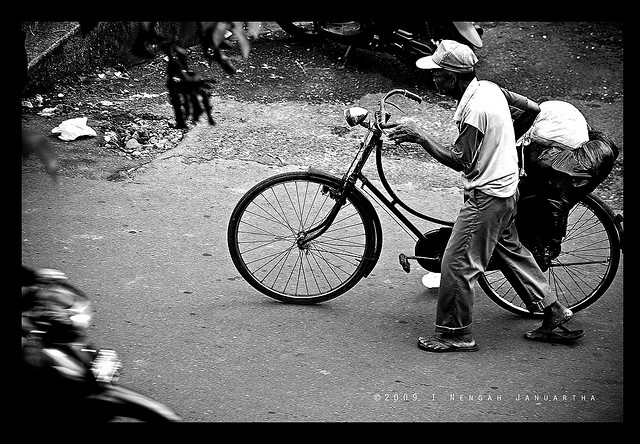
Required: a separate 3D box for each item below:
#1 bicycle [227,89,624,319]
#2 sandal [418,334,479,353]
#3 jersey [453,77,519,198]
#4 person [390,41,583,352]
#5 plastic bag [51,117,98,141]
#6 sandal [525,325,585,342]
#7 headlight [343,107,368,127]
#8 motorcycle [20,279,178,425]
[{"bbox_3d":[0.821,-0.029,5.538,2.991,1.089,0.929,5,-7,-8],"label":"bicycle"},{"bbox_3d":[0.854,0.815,5.063,0.397,0.085,0.129,4,5,-1],"label":"sandal"},{"bbox_3d":[1.021,-0.504,4.943,0.555,0.684,0.654,7,27,14],"label":"jersey"},{"bbox_3d":[1.121,-0.166,5.024,1.327,1.925,1.288,1,35,-1],"label":"person"},{"bbox_3d":[-2.331,-0.889,7.229,0.387,0.076,0.224,-11,42,-15],"label":"plastic bag"},{"bbox_3d":[1.587,0.754,5.152,0.379,0.070,0.117,-1,9,-2],"label":"sandal"},{"bbox_3d":[0.242,-0.707,5.168,0.178,0.115,0.133,-16,31,-13],"label":"headlight"},{"bbox_3d":[-0.954,0.588,3.138,0.596,0.698,0.397,-8,36,-14],"label":"motorcycle"}]
